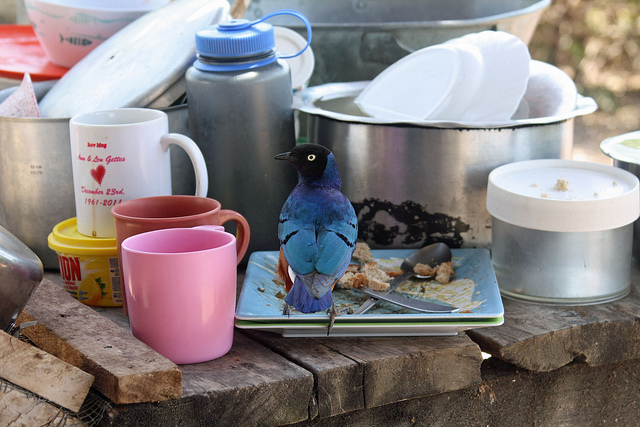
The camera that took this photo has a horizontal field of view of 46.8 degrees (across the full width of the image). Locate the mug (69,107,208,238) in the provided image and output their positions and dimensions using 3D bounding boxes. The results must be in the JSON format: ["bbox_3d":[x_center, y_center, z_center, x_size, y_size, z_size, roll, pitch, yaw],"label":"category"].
[{"bbox_3d":[-0.274,-0.055,1.184,0.214,0.182,0.132,1,6,27],"label":"mug"}]

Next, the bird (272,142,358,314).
[{"bbox_3d":[-0.004,0.020,1.105,0.115,0.236,0.207,-4,17,0],"label":"bird"}]

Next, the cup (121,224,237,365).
[{"bbox_3d":[-0.175,0.094,1.090,0.176,0.183,0.234,3,9,16],"label":"cup"}]

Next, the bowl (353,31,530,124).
[{"bbox_3d":[0.215,-0.257,1.332,0.238,0.160,0.303,1,15,13],"label":"bowl"}]

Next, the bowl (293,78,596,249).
[{"bbox_3d":[0.194,-0.114,1.329,0.382,0.306,0.363,13,21,-5],"label":"bowl"}]

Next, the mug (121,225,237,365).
[{"bbox_3d":[-0.192,0.116,1.051,0.157,0.178,0.079,-7,17,-11],"label":"mug"}]

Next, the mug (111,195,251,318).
[{"bbox_3d":[-0.206,0.070,1.113,0.213,0.162,0.162,-4,10,-18],"label":"mug"}]

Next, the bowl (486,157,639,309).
[{"bbox_3d":[0.397,0.025,1.200,0.246,0.207,0.171,-4,17,-2],"label":"bowl"}]
